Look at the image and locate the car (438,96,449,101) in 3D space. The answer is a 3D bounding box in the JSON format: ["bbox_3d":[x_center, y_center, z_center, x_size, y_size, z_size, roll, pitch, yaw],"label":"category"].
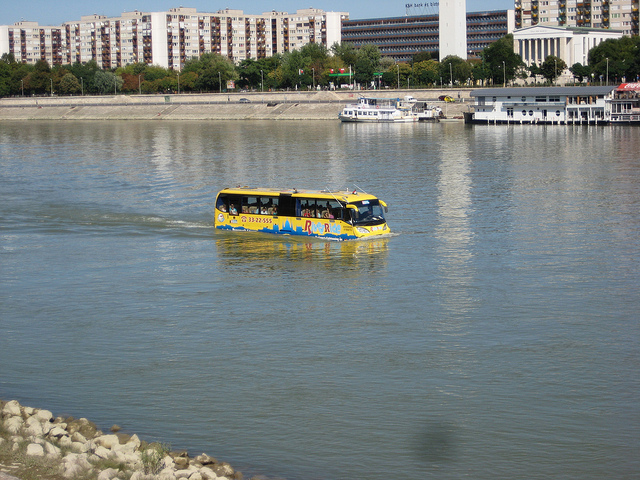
[{"bbox_3d":[17.116,-19.549,174.658,1.198,0.683,1.700,-1,5,-1],"label":"car"}]

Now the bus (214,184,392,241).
[{"bbox_3d":[-0.501,-1.256,59.953,9.592,2.533,2.923,2,9,23],"label":"bus"}]

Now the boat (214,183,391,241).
[{"bbox_3d":[-0.310,-1.177,60.047,9.520,2.768,2.893,2,9,22],"label":"boat"}]
